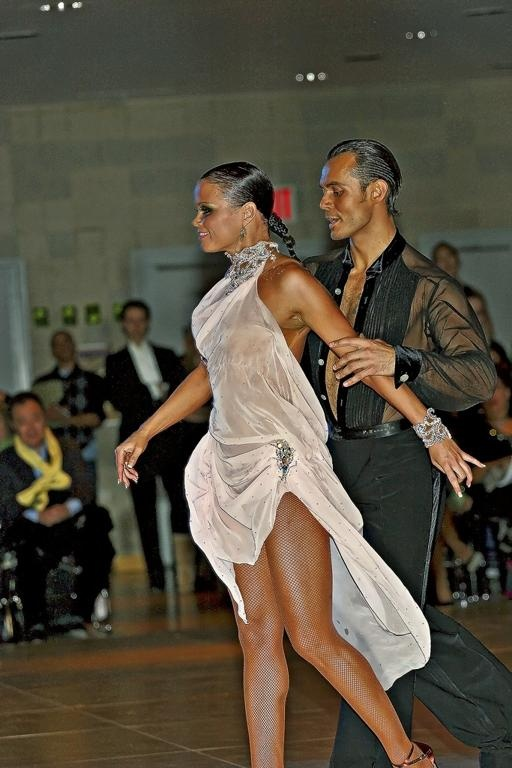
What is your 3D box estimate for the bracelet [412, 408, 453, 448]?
[{"bbox_3d":[0.330,0.086,1.441,0.077,0.071,0.025,-35,-3,-2],"label":"bracelet"}]
